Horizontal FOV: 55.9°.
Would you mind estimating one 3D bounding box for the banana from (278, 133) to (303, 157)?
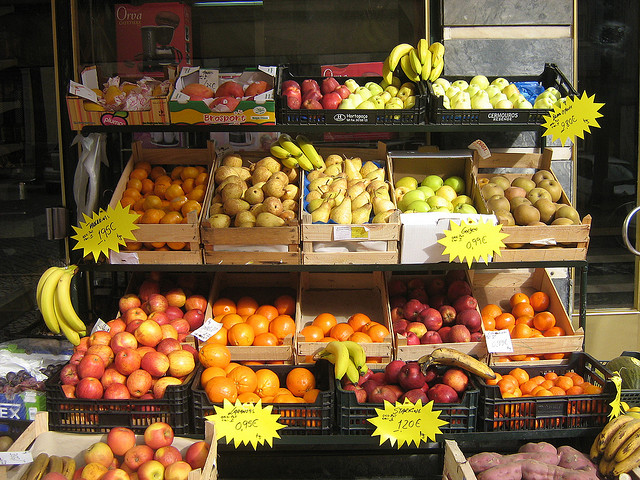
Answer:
[{"bbox_3d":[-0.217,-0.683,4.379,0.096,0.080,0.290,22,13,-44],"label":"banana"}]

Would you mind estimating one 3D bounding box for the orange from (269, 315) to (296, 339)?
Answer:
[{"bbox_3d":[-0.250,0.593,4.111,0.140,0.151,0.160,34,23,31],"label":"orange"}]

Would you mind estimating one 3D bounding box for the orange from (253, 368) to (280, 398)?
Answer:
[{"bbox_3d":[-0.327,0.896,3.825,0.143,0.147,0.142,20,-8,-3],"label":"orange"}]

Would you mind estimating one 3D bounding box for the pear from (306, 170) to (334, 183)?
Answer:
[{"bbox_3d":[-0.034,-0.456,4.352,0.119,0.056,0.061,2,25,-5],"label":"pear"}]

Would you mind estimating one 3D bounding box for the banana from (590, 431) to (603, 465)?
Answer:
[{"bbox_3d":[1.645,1.227,3.604,0.062,0.194,0.051,-1,6,-37],"label":"banana"}]

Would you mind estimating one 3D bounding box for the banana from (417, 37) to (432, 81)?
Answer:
[{"bbox_3d":[0.733,-1.275,4.244,0.078,0.297,0.094,-8,-5,8],"label":"banana"}]

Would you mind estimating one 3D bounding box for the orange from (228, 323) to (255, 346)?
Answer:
[{"bbox_3d":[-0.527,0.635,4.022,0.137,0.146,0.160,4,-13,-10],"label":"orange"}]

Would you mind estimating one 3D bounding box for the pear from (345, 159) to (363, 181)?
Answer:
[{"bbox_3d":[0.240,-0.502,4.380,0.093,0.186,0.083,-14,-20,-47],"label":"pear"}]

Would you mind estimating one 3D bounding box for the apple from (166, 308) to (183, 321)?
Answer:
[{"bbox_3d":[-1.018,0.517,4.212,0.094,0.079,0.077,-3,-8,-14],"label":"apple"}]

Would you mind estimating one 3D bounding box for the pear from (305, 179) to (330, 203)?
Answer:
[{"bbox_3d":[-0.005,-0.321,4.196,0.082,0.090,0.195,39,78,24],"label":"pear"}]

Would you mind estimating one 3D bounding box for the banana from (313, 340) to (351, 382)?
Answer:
[{"bbox_3d":[0.102,0.756,3.798,0.182,0.213,0.283,-15,20,-31],"label":"banana"}]

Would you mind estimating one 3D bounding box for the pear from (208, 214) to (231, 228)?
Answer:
[{"bbox_3d":[-0.664,-0.124,3.998,0.117,0.070,0.081,3,23,-8],"label":"pear"}]

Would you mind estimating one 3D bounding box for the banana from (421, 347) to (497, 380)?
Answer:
[{"bbox_3d":[0.863,0.802,3.751,0.484,0.098,0.232,6,45,29],"label":"banana"}]

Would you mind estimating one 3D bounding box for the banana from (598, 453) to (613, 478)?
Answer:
[{"bbox_3d":[1.645,1.315,3.513,0.036,0.120,0.077,15,-15,22],"label":"banana"}]

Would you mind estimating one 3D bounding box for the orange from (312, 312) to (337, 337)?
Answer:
[{"bbox_3d":[0.040,0.579,4.211,0.141,0.145,0.168,0,18,8],"label":"orange"}]

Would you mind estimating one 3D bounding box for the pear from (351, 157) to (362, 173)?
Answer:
[{"bbox_3d":[0.276,-0.561,4.449,0.058,0.114,0.061,-26,-19,-14],"label":"pear"}]

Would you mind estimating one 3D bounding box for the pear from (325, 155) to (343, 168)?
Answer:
[{"bbox_3d":[0.099,-0.588,4.454,0.092,0.091,0.105,-46,3,0],"label":"pear"}]

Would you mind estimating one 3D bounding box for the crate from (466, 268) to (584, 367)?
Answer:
[{"bbox_3d":[1.526,0.475,4.350,0.541,0.246,0.758,-2,38,3],"label":"crate"}]

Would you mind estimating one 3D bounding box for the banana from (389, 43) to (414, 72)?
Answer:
[{"bbox_3d":[0.566,-1.300,4.342,0.080,0.164,0.324,6,36,41],"label":"banana"}]

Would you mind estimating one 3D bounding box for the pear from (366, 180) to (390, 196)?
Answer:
[{"bbox_3d":[0.408,-0.377,4.272,0.125,0.078,0.095,-12,-12,-40],"label":"pear"}]

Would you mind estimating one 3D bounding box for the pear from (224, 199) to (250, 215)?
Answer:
[{"bbox_3d":[-0.565,-0.222,4.110,0.152,0.085,0.085,2,-30,-29],"label":"pear"}]

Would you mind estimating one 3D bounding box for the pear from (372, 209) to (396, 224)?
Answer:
[{"bbox_3d":[0.423,-0.156,4.016,0.163,0.081,0.106,2,18,18],"label":"pear"}]

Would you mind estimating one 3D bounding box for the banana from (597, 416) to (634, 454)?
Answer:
[{"bbox_3d":[1.730,1.145,3.522,0.241,0.085,0.061,-44,33,-22],"label":"banana"}]

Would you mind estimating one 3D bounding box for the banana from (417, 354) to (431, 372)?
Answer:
[{"bbox_3d":[0.654,0.766,3.771,0.020,0.076,0.077,20,25,18],"label":"banana"}]

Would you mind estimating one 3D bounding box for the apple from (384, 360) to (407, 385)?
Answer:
[{"bbox_3d":[0.467,0.830,3.850,0.133,0.138,0.134,-14,21,-31],"label":"apple"}]

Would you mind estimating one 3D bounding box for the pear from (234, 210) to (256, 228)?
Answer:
[{"bbox_3d":[-0.500,-0.149,3.980,0.101,0.123,0.068,-12,-14,-5],"label":"pear"}]

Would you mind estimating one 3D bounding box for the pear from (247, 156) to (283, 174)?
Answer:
[{"bbox_3d":[-0.405,-0.545,4.412,0.193,0.102,0.098,7,3,1],"label":"pear"}]

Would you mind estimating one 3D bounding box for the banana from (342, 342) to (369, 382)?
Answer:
[{"bbox_3d":[0.226,0.760,3.822,0.118,0.241,0.065,-12,-28,-18],"label":"banana"}]

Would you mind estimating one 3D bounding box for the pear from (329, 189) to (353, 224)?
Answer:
[{"bbox_3d":[0.170,-0.224,4.089,0.151,0.169,0.302,3,19,23],"label":"pear"}]

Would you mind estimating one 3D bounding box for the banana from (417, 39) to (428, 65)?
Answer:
[{"bbox_3d":[0.719,-1.310,4.219,0.066,0.163,0.058,-2,17,7],"label":"banana"}]

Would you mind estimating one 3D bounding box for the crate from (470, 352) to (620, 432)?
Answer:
[{"bbox_3d":[1.408,0.954,3.907,0.900,0.353,0.510,-4,17,1],"label":"crate"}]
